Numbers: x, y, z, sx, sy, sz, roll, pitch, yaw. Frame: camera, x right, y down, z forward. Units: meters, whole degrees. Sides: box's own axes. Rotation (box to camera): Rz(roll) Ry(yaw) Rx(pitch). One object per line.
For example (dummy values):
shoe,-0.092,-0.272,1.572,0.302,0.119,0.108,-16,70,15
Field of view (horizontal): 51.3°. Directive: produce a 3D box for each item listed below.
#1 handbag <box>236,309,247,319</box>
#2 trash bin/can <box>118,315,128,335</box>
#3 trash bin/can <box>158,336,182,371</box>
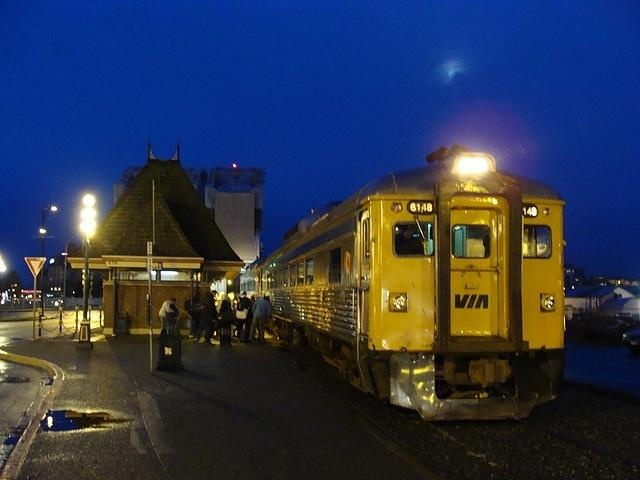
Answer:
handbag,-2.716,2.576,23.122,0.445,0.368,0.272,2,-15,-6
trash bin/can,-7.454,3.217,25.225,0.556,0.854,0.574,1,-3,-16
trash bin/can,-3.560,2.666,15.868,0.663,1.007,0.673,1,2,-12
